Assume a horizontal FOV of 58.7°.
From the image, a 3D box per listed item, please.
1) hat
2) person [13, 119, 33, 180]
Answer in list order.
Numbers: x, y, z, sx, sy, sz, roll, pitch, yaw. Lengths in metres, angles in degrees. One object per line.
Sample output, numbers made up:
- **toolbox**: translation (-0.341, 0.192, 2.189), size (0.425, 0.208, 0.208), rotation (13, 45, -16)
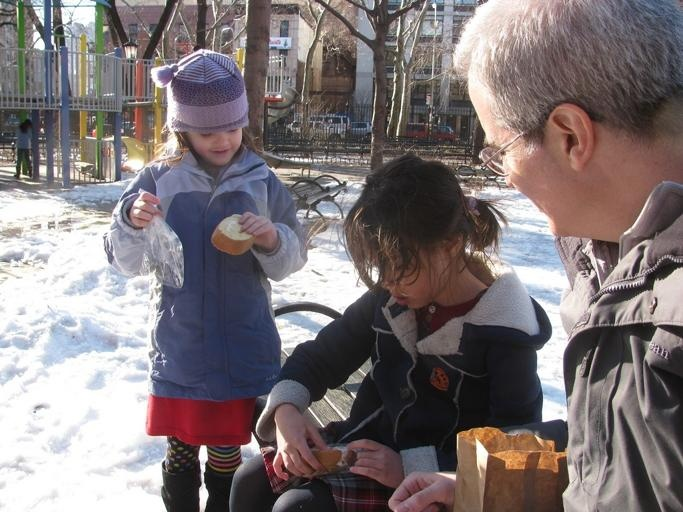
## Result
- **hat**: translation (-0.670, -0.782, 2.887), size (0.421, 0.349, 0.355), rotation (3, 23, -3)
- **person**: translation (-7.981, -2.702, 15.271), size (0.441, 1.489, 1.573), rotation (-4, 15, -28)
